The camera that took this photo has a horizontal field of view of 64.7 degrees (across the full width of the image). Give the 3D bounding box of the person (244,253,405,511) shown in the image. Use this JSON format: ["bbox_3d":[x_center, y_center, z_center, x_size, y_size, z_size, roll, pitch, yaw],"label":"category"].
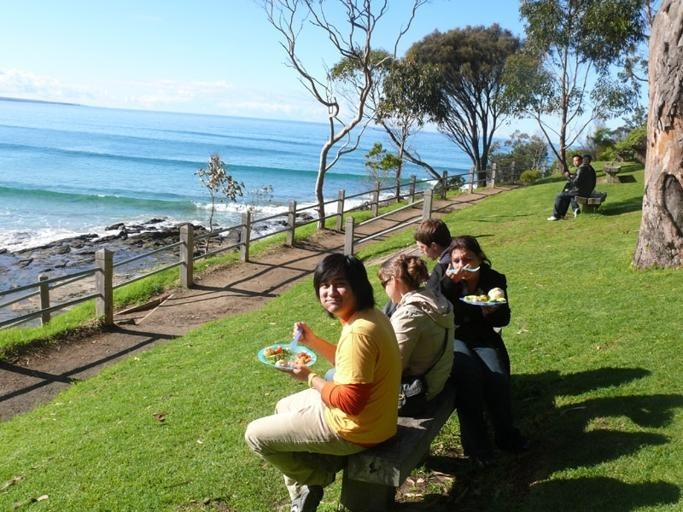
[{"bbox_3d":[-0.084,1.074,4.323,1.095,2.157,0.489,0,10,17],"label":"person"}]

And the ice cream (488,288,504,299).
[{"bbox_3d":[1.530,0.369,5.336,0.117,0.080,0.113,-8,-1,4],"label":"ice cream"}]

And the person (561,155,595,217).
[{"bbox_3d":[6.232,-1.873,14.150,0.731,1.534,0.944,1,10,21],"label":"person"}]

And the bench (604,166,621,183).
[{"bbox_3d":[9.756,-3.002,19.577,0.716,0.626,0.762,2,8,19],"label":"bench"}]
